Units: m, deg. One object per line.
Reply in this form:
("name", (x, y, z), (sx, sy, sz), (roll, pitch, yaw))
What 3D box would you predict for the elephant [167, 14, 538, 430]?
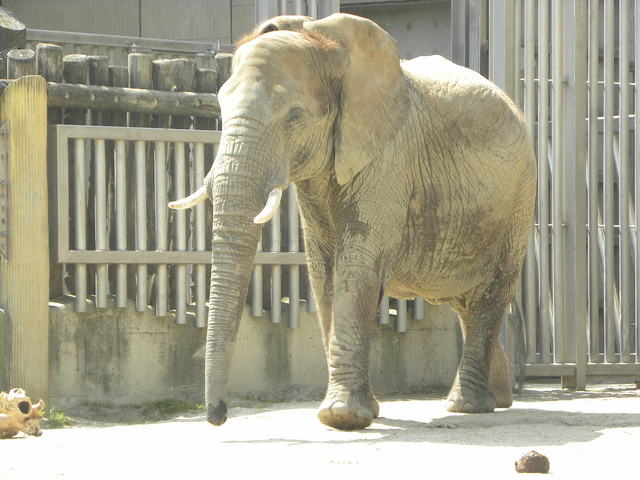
("elephant", (0.304, -0.028, 12.017), (2.712, 2.645, 1.173), (0, 1, -41))
